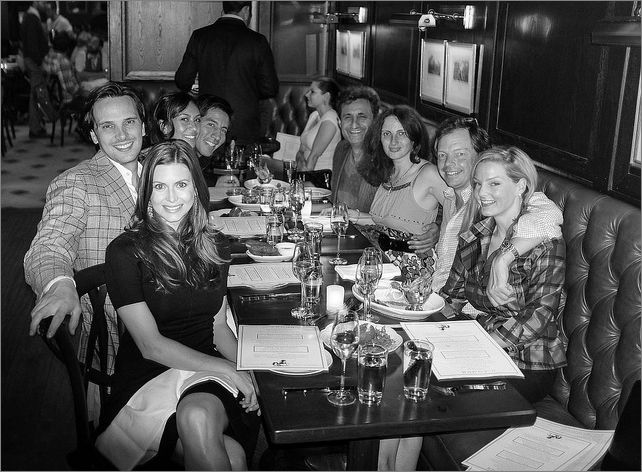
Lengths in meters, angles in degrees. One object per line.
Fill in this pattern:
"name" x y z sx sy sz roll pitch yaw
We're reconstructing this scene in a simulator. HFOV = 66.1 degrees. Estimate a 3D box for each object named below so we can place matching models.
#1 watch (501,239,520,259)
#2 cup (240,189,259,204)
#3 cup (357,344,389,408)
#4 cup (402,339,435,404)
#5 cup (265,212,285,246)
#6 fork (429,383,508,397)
"watch" 0.812 0.055 2.105 0.055 0.034 0.055 42 2 -18
"cup" -0.467 -0.268 3.224 0.102 0.082 0.107 1 10 0
"cup" 0.149 0.402 1.459 0.099 0.171 0.103 4 2 0
"cup" 0.294 0.392 1.492 0.096 0.165 0.101 1 10 0
"cup" -0.238 -0.043 2.552 0.095 0.161 0.098 4 11 -1
"fork" 0.446 0.471 1.507 0.143 0.027 0.026 -2 27 -5
